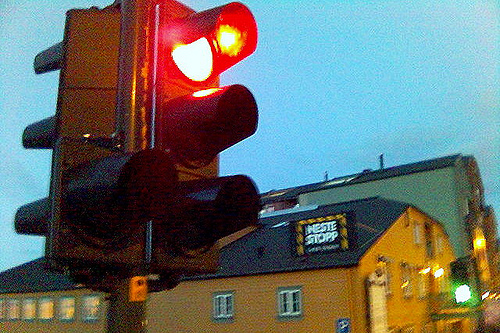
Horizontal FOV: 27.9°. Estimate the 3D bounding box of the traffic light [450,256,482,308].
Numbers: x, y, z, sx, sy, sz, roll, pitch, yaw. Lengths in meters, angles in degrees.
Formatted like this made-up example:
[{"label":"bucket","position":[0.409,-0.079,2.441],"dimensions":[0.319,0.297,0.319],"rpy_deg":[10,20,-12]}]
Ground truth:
[{"label":"traffic light","position":[6.357,3.386,29.593],"dimensions":[0.399,1.539,1.107],"rpy_deg":[10,-20,-41]}]
